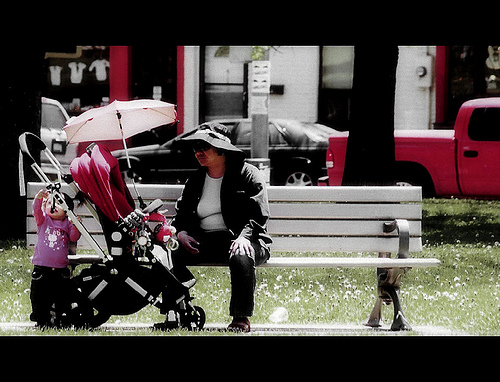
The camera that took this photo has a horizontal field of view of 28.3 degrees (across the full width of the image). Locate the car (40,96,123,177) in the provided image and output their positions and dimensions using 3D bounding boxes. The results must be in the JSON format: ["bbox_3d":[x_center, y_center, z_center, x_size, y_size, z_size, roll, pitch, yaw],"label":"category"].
[{"bbox_3d":[-2.895,-0.876,16.446,1.174,1.299,2.248,-1,7,3],"label":"car"}]

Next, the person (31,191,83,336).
[{"bbox_3d":[-1.841,0.633,9.259,0.441,1.298,0.366,3,10,16],"label":"person"}]

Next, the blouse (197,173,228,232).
[{"bbox_3d":[-0.374,0.098,9.459,0.264,0.532,0.301,1,6,-9],"label":"blouse"}]

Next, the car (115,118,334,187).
[{"bbox_3d":[-0.358,-0.646,16.237,3.184,1.177,1.429,2,1,2],"label":"car"}]

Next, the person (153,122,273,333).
[{"bbox_3d":[-0.305,0.312,9.275,0.967,1.833,0.705,5,11,29],"label":"person"}]

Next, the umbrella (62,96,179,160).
[{"bbox_3d":[-1.265,-0.610,9.649,1.087,0.571,0.545,-2,10,-12],"label":"umbrella"}]
